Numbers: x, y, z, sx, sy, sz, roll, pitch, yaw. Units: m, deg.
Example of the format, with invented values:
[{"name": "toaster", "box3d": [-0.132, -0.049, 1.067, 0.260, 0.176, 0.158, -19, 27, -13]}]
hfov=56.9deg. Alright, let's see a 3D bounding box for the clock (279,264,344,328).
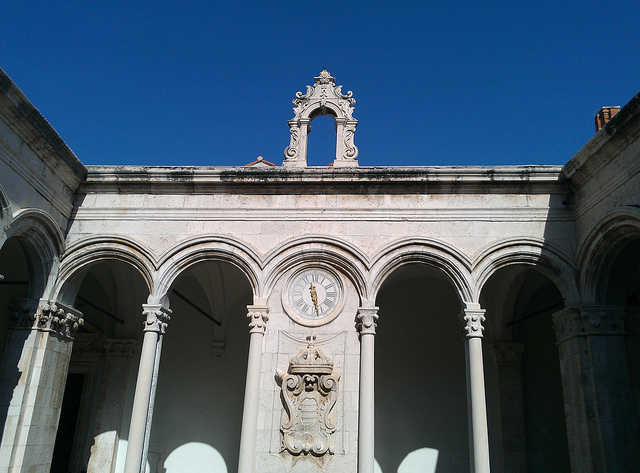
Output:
[{"name": "clock", "box3d": [-0.142, 1.306, 13.461, 1.361, 1.665, 0.185, 1, -38, -3]}]
